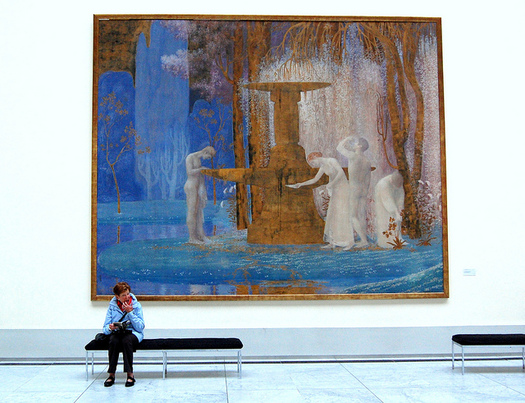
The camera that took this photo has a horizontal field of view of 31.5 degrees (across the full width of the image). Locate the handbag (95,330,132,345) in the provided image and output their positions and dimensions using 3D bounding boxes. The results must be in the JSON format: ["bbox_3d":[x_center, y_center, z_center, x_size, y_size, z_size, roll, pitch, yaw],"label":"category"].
[{"bbox_3d":[-3.365,2.968,20.050,0.490,0.197,0.365,-18,-9,15],"label":"handbag"}]

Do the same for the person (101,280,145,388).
[{"bbox_3d":[-3.030,2.844,20.038,0.837,2.031,1.084,0,12,0],"label":"person"}]

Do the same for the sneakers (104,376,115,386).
[{"bbox_3d":[-3.277,3.815,19.838,0.177,0.173,0.332,1,12,5],"label":"sneakers"}]

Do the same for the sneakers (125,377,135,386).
[{"bbox_3d":[-2.840,3.826,19.869,0.195,0.185,0.367,0,12,0],"label":"sneakers"}]
